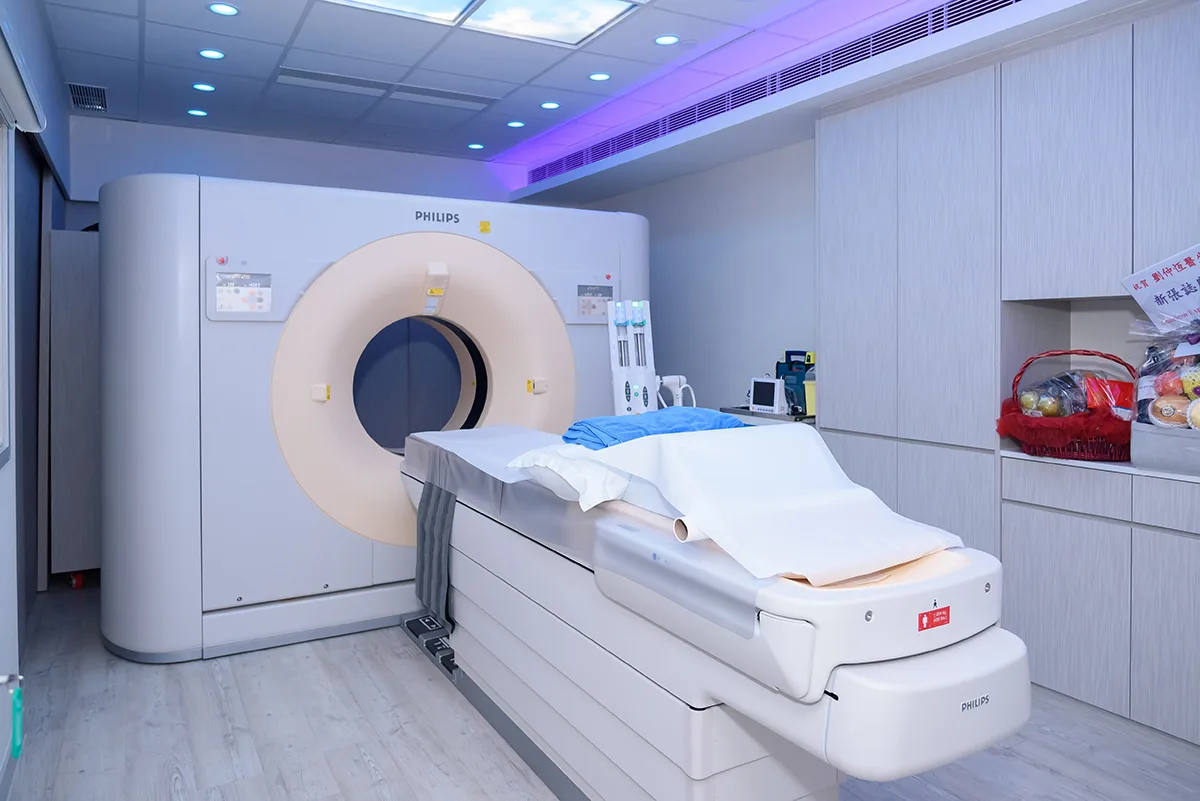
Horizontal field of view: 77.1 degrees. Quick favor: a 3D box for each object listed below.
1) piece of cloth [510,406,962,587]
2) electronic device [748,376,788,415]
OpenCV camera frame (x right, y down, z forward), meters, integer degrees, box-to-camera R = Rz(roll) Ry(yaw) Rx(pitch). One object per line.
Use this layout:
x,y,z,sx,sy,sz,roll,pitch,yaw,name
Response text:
0.419,0.280,2.248,0.670,0.165,0.670,-3,16,-36,piece of cloth
1.002,-0.021,4.467,0.087,0.183,0.208,11,-10,-34,electronic device
